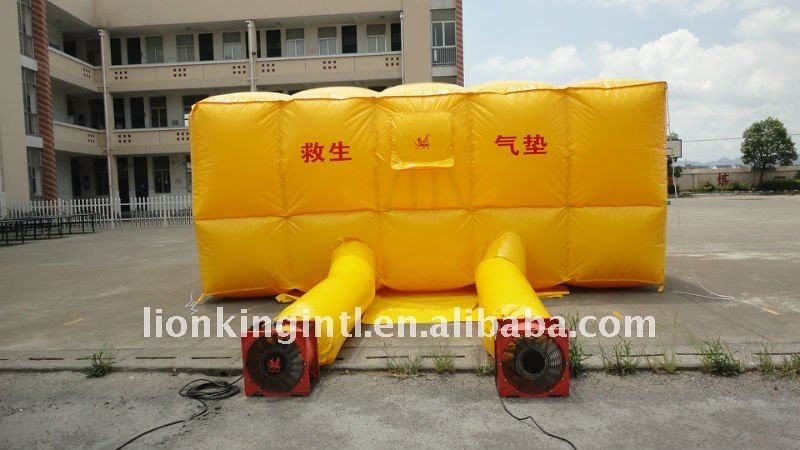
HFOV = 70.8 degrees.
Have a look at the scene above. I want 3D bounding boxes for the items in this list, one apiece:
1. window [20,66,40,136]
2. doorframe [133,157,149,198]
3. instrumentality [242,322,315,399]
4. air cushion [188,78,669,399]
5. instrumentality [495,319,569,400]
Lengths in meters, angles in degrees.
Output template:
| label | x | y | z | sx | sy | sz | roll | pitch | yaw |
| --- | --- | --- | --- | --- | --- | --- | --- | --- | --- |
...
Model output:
| label | x | y | z | sx | sy | sz | roll | pitch | yaw |
| --- | --- | --- | --- | --- | --- | --- | --- | --- | --- |
| window | -16.821 | -5.614 | 25.635 | 0.315 | 3.007 | 0.835 | -2 | 4 | 6 |
| doorframe | -15.417 | -2.570 | 33.541 | 0.753 | 2.983 | 0.155 | -9 | 15 | -43 |
| instrumentality | -1.951 | 2.276 | 9.769 | 1.205 | 1.130 | 1.181 | 0 | 1 | 2 |
| air cushion | 0.696 | -0.568 | 11.589 | 9.568 | 4.840 | 1.668 | -2 | 4 | 1 |
| instrumentality | 2.157 | 2.188 | 9.602 | 1.263 | 1.183 | 1.259 | -1 | -1 | 7 |
